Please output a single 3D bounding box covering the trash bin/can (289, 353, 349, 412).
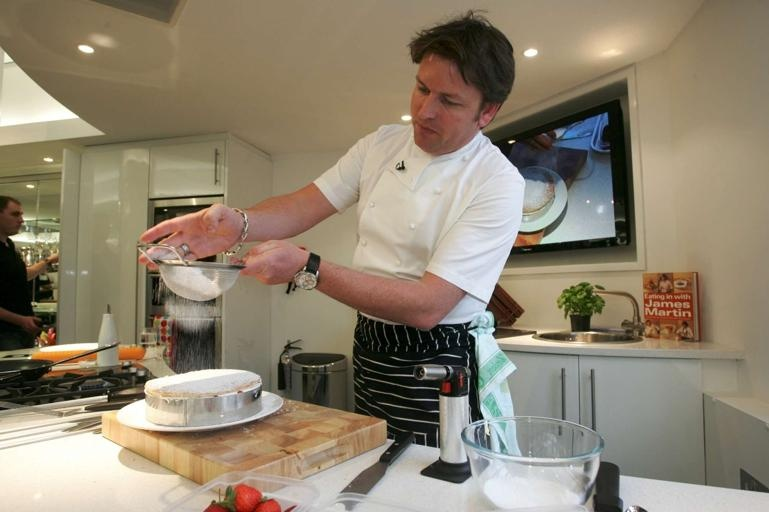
[{"bbox_3d":[-0.548,1.206,4.647,0.473,0.726,0.476,1,5,-5],"label":"trash bin/can"}]

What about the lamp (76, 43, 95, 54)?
[{"bbox_3d":[-1.810,-1.270,3.399,0.102,0.027,0.072,0,-2,5],"label":"lamp"}]

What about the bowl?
[{"bbox_3d":[0.456,0.572,1.694,0.306,0.128,0.302,-1,-3,0],"label":"bowl"}]

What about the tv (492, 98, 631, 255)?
[{"bbox_3d":[1.153,-0.498,3.485,0.103,0.768,1.027,4,-6,-37],"label":"tv"}]

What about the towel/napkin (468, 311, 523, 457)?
[{"bbox_3d":[0.465,0.523,2.250,0.165,0.589,0.131,-10,5,2],"label":"towel/napkin"}]

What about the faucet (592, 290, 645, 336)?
[{"bbox_3d":[1.413,0.341,3.396,0.324,0.378,0.186,0,2,27],"label":"faucet"}]

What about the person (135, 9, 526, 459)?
[{"bbox_3d":[-0.033,-0.115,2.185,1.129,1.705,0.608,0,-3,12],"label":"person"}]

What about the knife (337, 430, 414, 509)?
[{"bbox_3d":[-0.024,0.683,1.796,0.076,0.035,0.423,5,10,23],"label":"knife"}]

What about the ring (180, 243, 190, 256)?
[{"bbox_3d":[-0.751,-0.017,2.127,0.013,0.050,0.051,-20,22,-25],"label":"ring"}]

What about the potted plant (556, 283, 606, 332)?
[{"bbox_3d":[1.234,0.328,3.511,0.291,0.299,0.272,-3,4,-30],"label":"potted plant"}]
